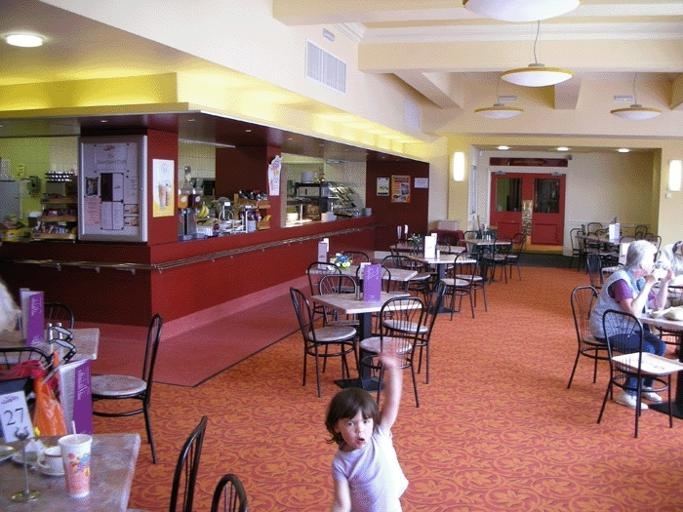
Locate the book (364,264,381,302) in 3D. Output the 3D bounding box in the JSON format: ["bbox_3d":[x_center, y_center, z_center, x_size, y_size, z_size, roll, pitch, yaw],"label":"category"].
[{"bbox_3d":[0.308,0.254,4.973,0.216,0.346,0.041,-1,-5,37],"label":"book"}]

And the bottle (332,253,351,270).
[{"bbox_3d":[-0.006,0.062,6.072,0.184,0.122,0.210,4,12,10],"label":"bottle"}]

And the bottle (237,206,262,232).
[{"bbox_3d":[-1.466,-0.574,8.103,0.391,0.465,0.345,-1,7,-1],"label":"bottle"}]

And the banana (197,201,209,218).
[{"bbox_3d":[-2.028,-0.672,7.526,0.249,0.299,0.214,1,3,-13],"label":"banana"}]

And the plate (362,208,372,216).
[{"bbox_3d":[0.653,-1.171,13.592,0.248,0.161,0.230,0,7,-9],"label":"plate"}]

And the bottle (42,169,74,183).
[{"bbox_3d":[-3.677,-1.033,6.732,0.312,0.165,0.546,-4,7,-32],"label":"bottle"}]

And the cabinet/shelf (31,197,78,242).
[{"bbox_3d":[-3.666,-0.481,6.370,0.404,0.465,0.705,14,4,14],"label":"cabinet/shelf"}]

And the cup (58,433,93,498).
[{"bbox_3d":[-1.054,0.811,2.051,0.109,0.206,0.223,-5,7,-28],"label":"cup"}]

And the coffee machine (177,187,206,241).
[{"bbox_3d":[-2.057,-0.579,7.015,0.336,0.671,0.765,-3,7,-15],"label":"coffee machine"}]

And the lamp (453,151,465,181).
[{"bbox_3d":[3.106,-2.382,13.702,0.345,0.774,0.100,1,7,11],"label":"lamp"}]

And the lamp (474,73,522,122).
[{"bbox_3d":[2.935,-2.904,9.607,0.912,0.759,0.843,0,5,-18],"label":"lamp"}]

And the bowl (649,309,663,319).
[{"bbox_3d":[2.762,0.501,4.528,0.079,0.032,0.081,0,5,0],"label":"bowl"}]
